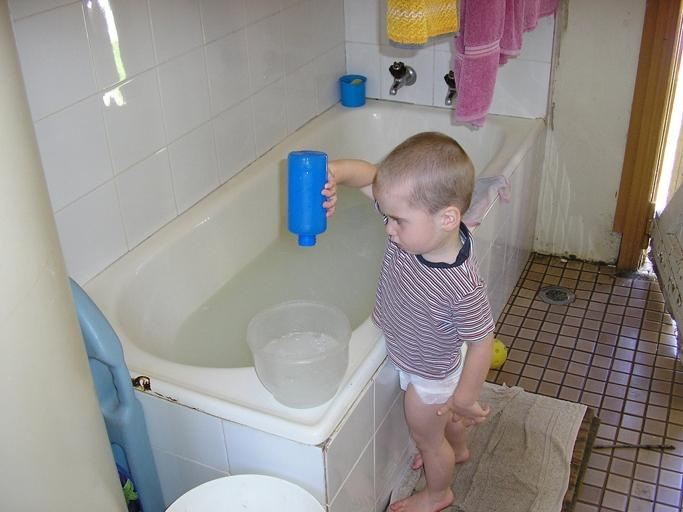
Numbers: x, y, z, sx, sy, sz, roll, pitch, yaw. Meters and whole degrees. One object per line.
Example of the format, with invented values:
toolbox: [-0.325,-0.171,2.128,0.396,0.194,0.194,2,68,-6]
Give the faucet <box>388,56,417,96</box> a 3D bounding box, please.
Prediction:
faucet: [0.298,-0.883,2.393,0.109,0.123,0.206,9,35,18]

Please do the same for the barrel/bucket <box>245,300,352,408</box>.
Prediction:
barrel/bucket: [-0.103,0.233,1.250,0.216,0.177,0.247,-5,28,-3]

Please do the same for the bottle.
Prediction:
bottle: [-0.089,-0.141,1.322,0.106,0.283,0.098,0,24,0]

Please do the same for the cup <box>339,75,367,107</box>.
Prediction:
cup: [0.058,-0.833,2.551,0.145,0.151,0.154,0,38,0]

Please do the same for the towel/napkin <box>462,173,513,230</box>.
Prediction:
towel/napkin: [0.520,-0.180,1.789,0.272,0.063,0.143,-54,25,-11]
